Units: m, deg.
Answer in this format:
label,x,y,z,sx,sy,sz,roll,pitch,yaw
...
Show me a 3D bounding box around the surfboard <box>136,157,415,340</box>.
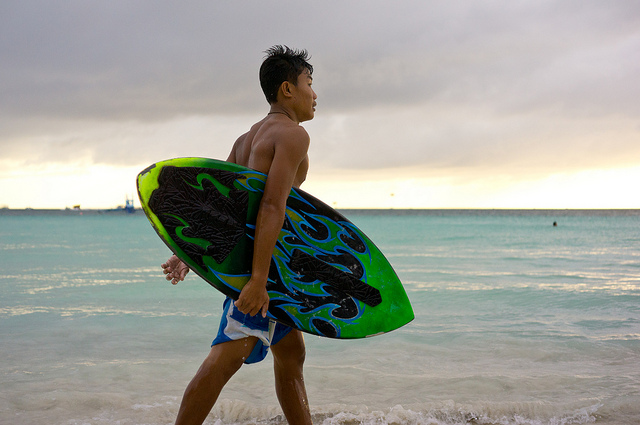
label,x,y,z,sx,sy,sz,roll,pitch,yaw
surfboard,-0.572,0.630,10.958,5.054,1.934,0.605,25,-10,-8
